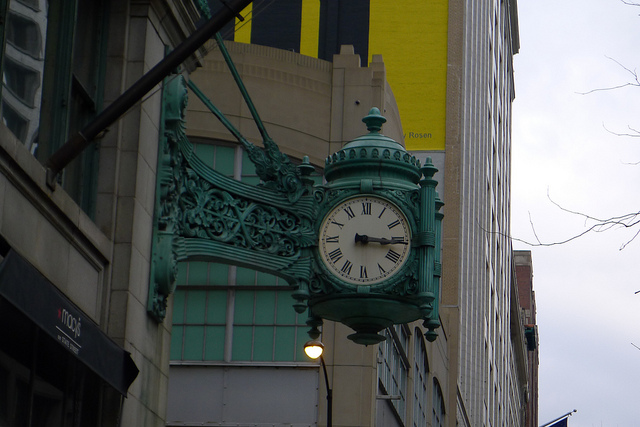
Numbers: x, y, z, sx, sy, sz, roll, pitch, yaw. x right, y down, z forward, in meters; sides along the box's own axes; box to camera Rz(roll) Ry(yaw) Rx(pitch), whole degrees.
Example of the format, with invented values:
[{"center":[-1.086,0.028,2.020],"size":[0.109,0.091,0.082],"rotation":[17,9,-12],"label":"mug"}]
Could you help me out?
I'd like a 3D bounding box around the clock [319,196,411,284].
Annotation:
[{"center":[0.979,0.689,37.727],"size":[1.618,1.794,0.232],"rotation":[2,-14,0],"label":"clock"}]
